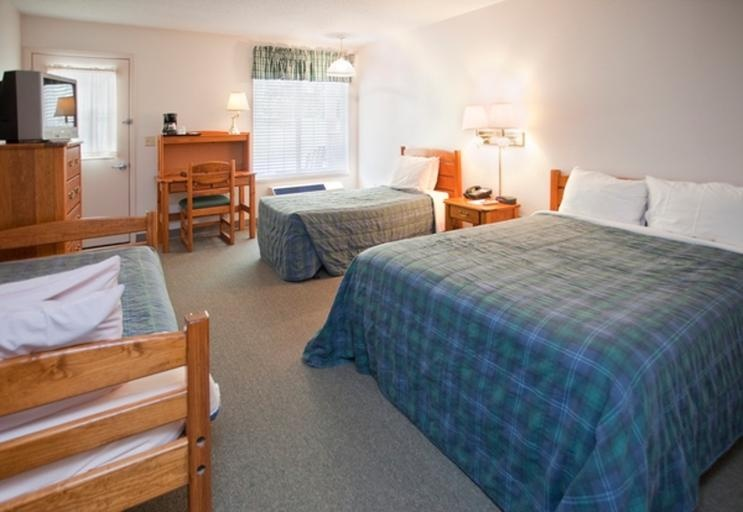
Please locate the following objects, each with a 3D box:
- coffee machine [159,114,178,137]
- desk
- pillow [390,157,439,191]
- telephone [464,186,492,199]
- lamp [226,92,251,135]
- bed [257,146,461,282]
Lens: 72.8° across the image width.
[{"bbox_3d":[-2.352,-1.526,5.881,0.171,0.247,0.276,-7,15,-21],"label":"coffee machine"},{"bbox_3d":[-2.042,-0.844,6.273,1.157,1.392,0.486,-9,21,-33],"label":"desk"},{"bbox_3d":[0.516,-0.969,5.938,0.487,0.497,0.145,12,-5,33],"label":"pillow"},{"bbox_3d":[1.115,-0.656,5.269,0.182,0.106,0.197,-3,9,-27],"label":"telephone"},{"bbox_3d":[-1.688,-1.820,6.407,0.261,0.521,0.556,-5,14,-14],"label":"lamp"},{"bbox_3d":[-0.171,-0.582,5.649,2.059,1.232,1.312,-4,10,-27],"label":"bed"}]
